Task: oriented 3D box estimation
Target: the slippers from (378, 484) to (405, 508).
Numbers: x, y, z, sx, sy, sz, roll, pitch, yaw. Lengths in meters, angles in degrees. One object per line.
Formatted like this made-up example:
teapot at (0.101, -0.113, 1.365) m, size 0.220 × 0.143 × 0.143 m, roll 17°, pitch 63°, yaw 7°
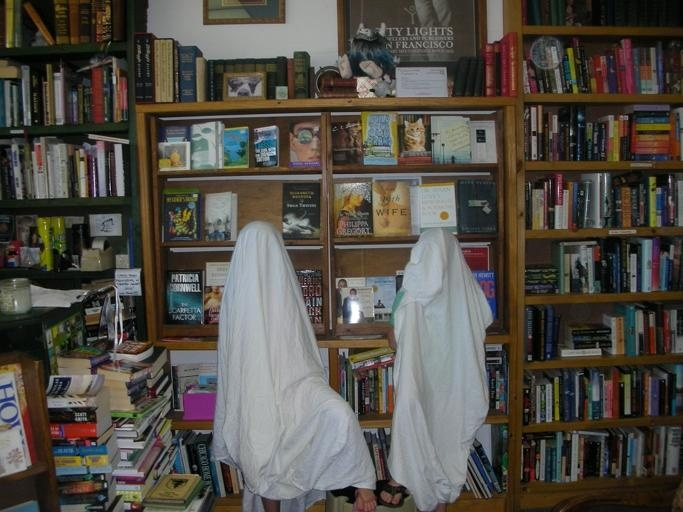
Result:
slippers at (0.305, 1.445, 4.541) m, size 0.158 × 0.111 × 0.109 m, roll -3°, pitch 6°, yaw 10°
